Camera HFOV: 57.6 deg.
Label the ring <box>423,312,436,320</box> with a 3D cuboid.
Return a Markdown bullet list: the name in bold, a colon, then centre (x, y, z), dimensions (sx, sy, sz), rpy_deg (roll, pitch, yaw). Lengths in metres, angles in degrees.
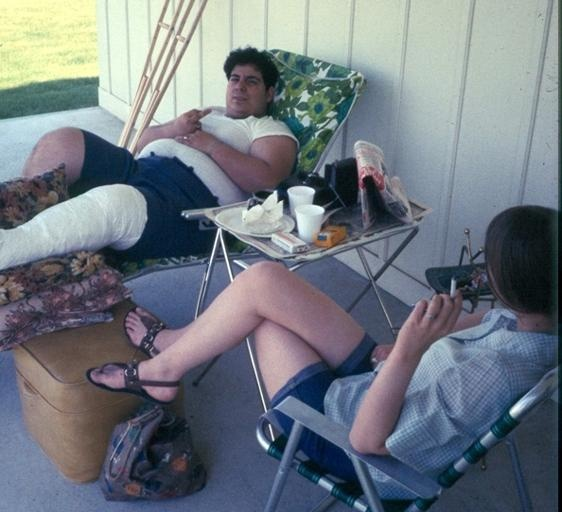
- **ring**: centre (0.265, 0.107, 0.904), dimensions (0.012, 0.009, 0.013), rpy_deg (0, 6, 10)

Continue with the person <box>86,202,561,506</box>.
- **person**: centre (0.027, 0.038, 1.391), dimensions (1.185, 0.875, 0.528), rpy_deg (15, 29, 24)

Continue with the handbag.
- **handbag**: centre (-0.378, 0.555, 1.557), dimensions (0.288, 0.314, 0.209), rpy_deg (5, 0, -33)

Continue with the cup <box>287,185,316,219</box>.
- **cup**: centre (0.069, -0.185, 1.654), dimensions (0.082, 0.096, 0.087), rpy_deg (2, 31, -1)

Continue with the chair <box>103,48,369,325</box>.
- **chair**: centre (-0.189, -0.462, 2.508), dimensions (1.078, 1.215, 0.677), rpy_deg (-31, 50, -28)

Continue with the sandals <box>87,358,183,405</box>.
- **sandals**: centre (-0.407, 0.347, 1.510), dimensions (0.282, 0.111, 0.110), rpy_deg (17, 38, -18)

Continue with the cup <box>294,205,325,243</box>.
- **cup**: centre (0.087, -0.101, 1.592), dimensions (0.096, 0.114, 0.101), rpy_deg (2, 25, -1)

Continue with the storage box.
- **storage box**: centre (-0.626, 0.388, 1.693), dimensions (0.433, 0.381, 0.457), rpy_deg (19, 26, 18)
